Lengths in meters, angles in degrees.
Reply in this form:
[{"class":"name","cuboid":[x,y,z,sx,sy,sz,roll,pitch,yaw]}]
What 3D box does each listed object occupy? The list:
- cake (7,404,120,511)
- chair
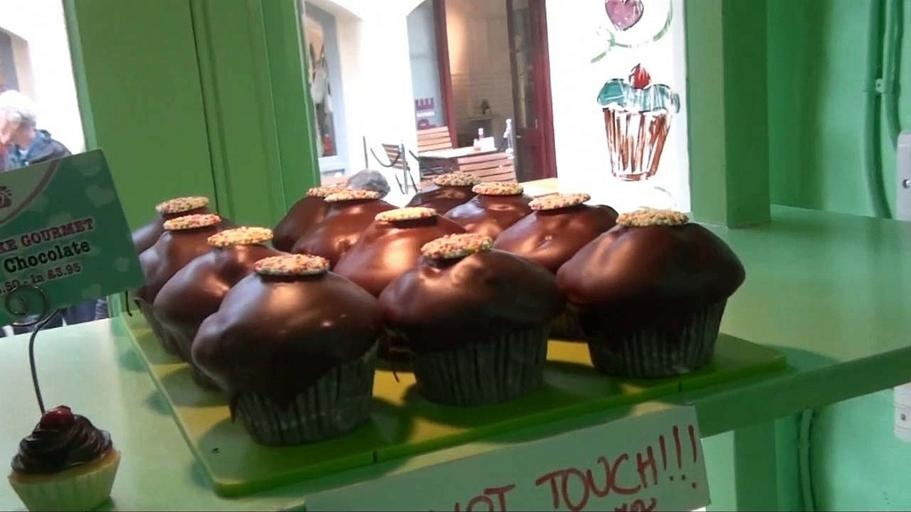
[{"class":"cake","cuboid":[-0.528,0.276,0.880,0.162,0.115,0.144,-2,3,-8]},{"class":"chair","cuboid":[-0.043,-0.301,1.898,0.372,0.211,0.233,-13,20,-26]}]
